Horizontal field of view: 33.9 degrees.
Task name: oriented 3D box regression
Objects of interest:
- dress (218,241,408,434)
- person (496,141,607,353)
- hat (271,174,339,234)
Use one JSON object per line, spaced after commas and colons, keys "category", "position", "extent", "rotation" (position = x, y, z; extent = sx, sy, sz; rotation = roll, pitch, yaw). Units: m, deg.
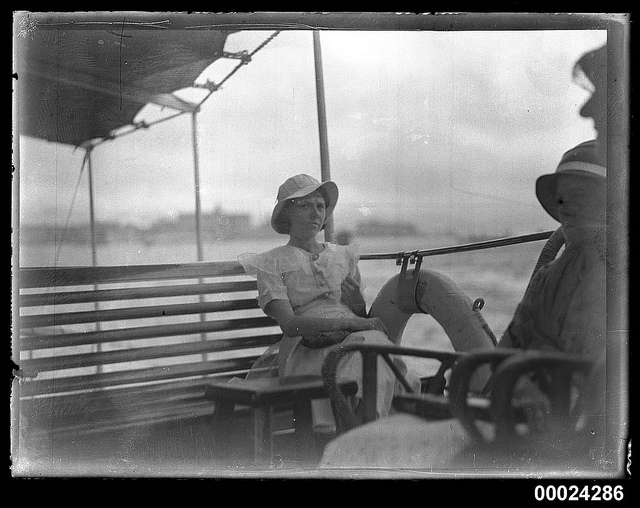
{"category": "dress", "position": [-0.068, 0.367, 4.525], "extent": [0.819, 1.055, 0.618], "rotation": [-3, 2, -32]}
{"category": "person", "position": [1.166, -0.019, 4.699], "extent": [0.270, 0.839, 0.618], "rotation": [11, -4, -27]}
{"category": "hat", "position": [-0.091, -0.231, 4.551], "extent": [0.227, 0.144, 0.284], "rotation": [4, -42, -17]}
